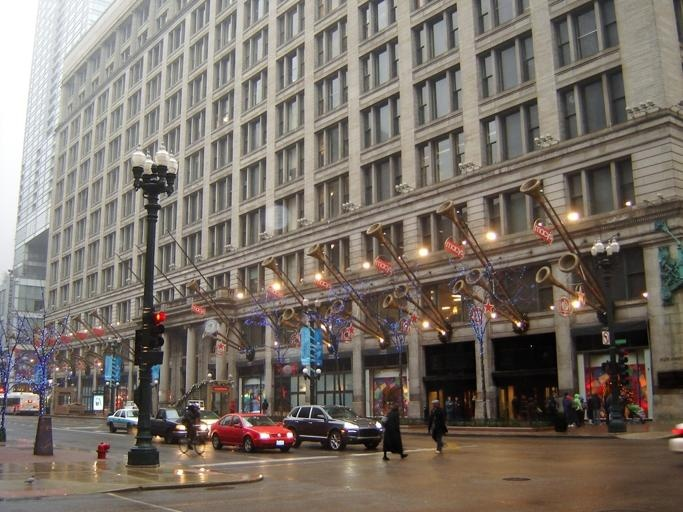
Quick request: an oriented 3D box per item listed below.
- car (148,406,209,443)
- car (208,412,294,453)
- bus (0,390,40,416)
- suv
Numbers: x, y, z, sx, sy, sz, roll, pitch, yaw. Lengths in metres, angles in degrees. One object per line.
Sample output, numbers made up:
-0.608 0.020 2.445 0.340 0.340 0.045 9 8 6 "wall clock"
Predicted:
-8.212 8.754 37.976 2.270 1.764 4.918 9 -20 -32 "car"
-4.260 8.244 33.720 1.841 1.114 3.339 12 -19 -36 "car"
-36.263 16.697 82.582 3.468 2.591 2.247 -2 -15 -4 "bus"
-0.325 8.116 34.384 4.296 2.270 1.678 -16 -19 38 "suv"
